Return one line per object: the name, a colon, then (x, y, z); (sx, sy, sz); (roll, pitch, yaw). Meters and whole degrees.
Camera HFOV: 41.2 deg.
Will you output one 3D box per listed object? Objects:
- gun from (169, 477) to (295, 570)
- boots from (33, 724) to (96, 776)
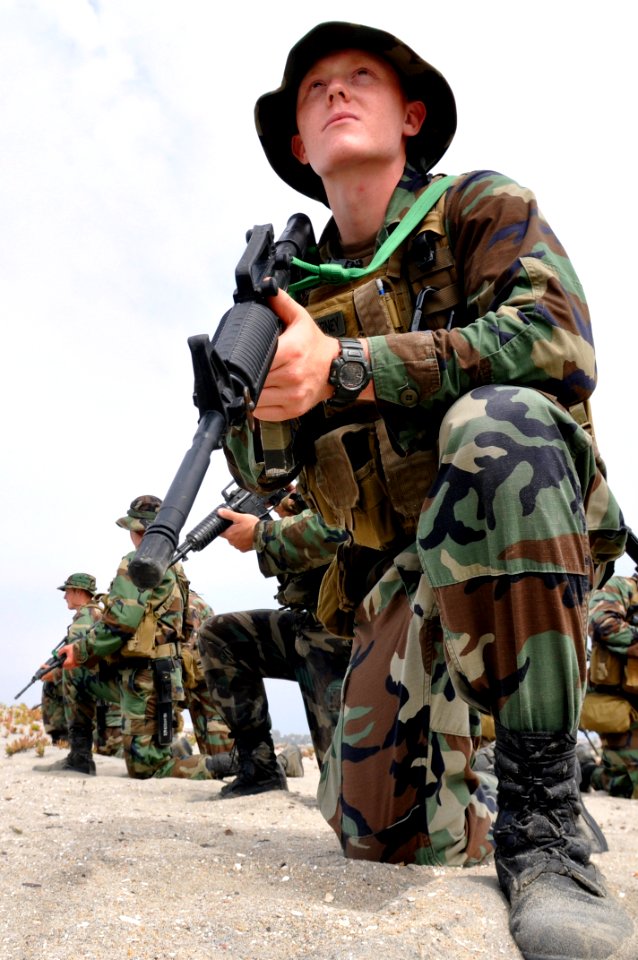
gun: (-0.296, 0.186, 3.401); (0.504, 0.090, 0.227); (-42, -15, -10)
boots: (-1.671, 1.876, 5.854); (0.552, 0.370, 0.220); (-3, -16, 38)
